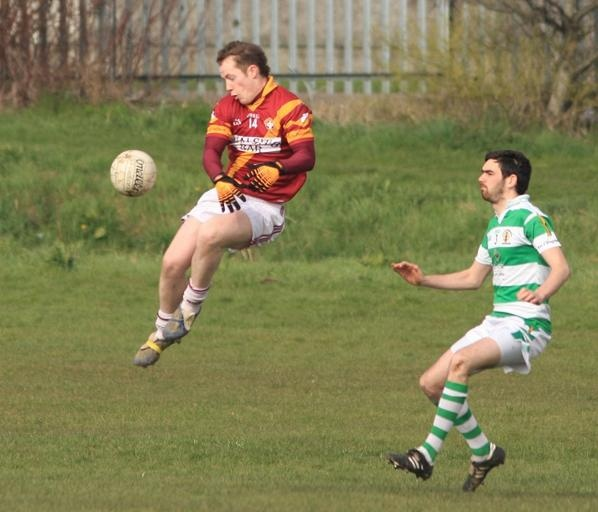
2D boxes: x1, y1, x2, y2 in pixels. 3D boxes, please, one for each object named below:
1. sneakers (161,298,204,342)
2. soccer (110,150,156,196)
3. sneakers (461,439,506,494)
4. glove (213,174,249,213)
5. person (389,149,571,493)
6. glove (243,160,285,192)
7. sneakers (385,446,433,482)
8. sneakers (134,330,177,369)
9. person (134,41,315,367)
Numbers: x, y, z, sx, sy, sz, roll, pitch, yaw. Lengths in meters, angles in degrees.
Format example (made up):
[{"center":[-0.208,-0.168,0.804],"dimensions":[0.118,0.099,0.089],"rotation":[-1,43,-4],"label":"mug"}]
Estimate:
[{"center":[-0.811,0.454,10.301],"dimensions":[0.153,0.403,0.171],"rotation":[35,7,-6],"label":"sneakers"},{"center":[-1.164,-0.607,10.694],"dimensions":[0.298,0.324,0.307],"rotation":[-2,-13,19],"label":"soccer"},{"center":[1.199,1.385,9.961],"dimensions":[0.238,0.457,0.159],"rotation":[14,32,-15],"label":"sneakers"},{"center":[-0.478,-0.395,10.007],"dimensions":[0.066,0.236,0.223],"rotation":[-32,10,-23],"label":"glove"},{"center":[1.178,0.483,9.692],"dimensions":[1.084,2.225,0.937],"rotation":[-4,12,-7],"label":"person"},{"center":[-0.233,-0.533,9.989],"dimensions":[0.238,0.164,0.060],"rotation":[-31,-6,7],"label":"glove"},{"center":[0.728,1.291,9.483],"dimensions":[0.367,0.212,0.130],"rotation":[4,-1,-31],"label":"sneakers"},{"center":[-1.021,0.650,10.368],"dimensions":[0.353,0.178,0.154],"rotation":[-46,-5,-17],"label":"sneakers"},{"center":[-0.485,-0.386,10.289],"dimensions":[1.183,2.116,0.674],"rotation":[-4,11,-4],"label":"person"}]
